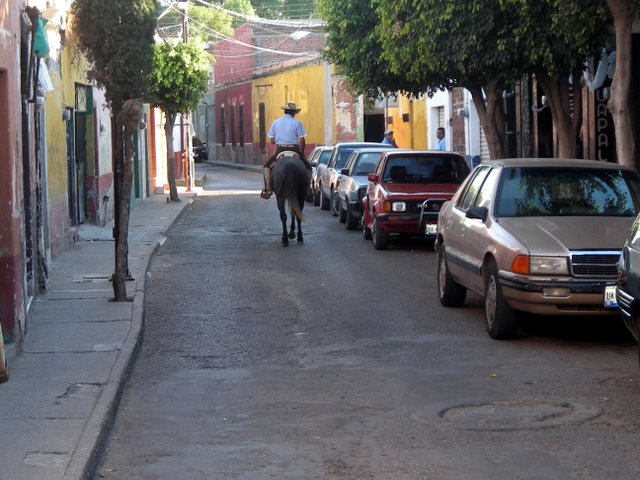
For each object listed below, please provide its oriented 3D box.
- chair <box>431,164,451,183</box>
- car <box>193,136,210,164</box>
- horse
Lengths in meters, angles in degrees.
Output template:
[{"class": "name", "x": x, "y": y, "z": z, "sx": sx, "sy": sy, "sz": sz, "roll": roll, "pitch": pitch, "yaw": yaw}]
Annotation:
[{"class": "chair", "x": 2.538, "y": -1.372, "z": 15.420, "sx": 0.288, "sy": 0.375, "sz": 0.344, "roll": 2, "pitch": 1, "yaw": 11}, {"class": "car", "x": -10.650, "y": -8.080, "z": 66.275, "sx": 1.704, "sy": 1.560, "sz": 4.203, "roll": -1, "pitch": 15, "yaw": -9}, {"class": "horse", "x": -0.644, "y": -0.903, "z": 16.313, "sx": 0.808, "sy": 1.995, "sz": 1.321, "roll": 0, "pitch": 5, "yaw": -1}]
